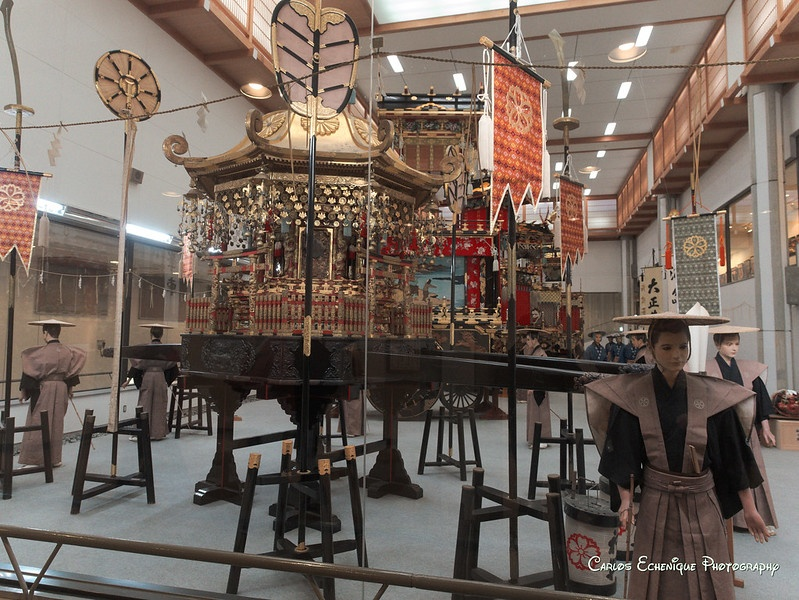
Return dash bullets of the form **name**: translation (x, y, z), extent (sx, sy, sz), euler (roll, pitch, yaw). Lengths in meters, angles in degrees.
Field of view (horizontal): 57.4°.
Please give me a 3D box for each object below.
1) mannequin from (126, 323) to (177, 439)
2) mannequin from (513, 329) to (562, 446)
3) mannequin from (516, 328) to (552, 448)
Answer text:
- **mannequin**: translation (-2.673, 0.845, 7.920), extent (0.506, 1.129, 0.348), euler (4, -5, -19)
- **mannequin**: translation (1.015, 0.662, 5.522), extent (0.218, 0.871, 0.264), euler (-4, 2, -10)
- **mannequin**: translation (1.020, 0.658, 5.520), extent (0.226, 0.845, 0.267), euler (-2, 6, 8)
